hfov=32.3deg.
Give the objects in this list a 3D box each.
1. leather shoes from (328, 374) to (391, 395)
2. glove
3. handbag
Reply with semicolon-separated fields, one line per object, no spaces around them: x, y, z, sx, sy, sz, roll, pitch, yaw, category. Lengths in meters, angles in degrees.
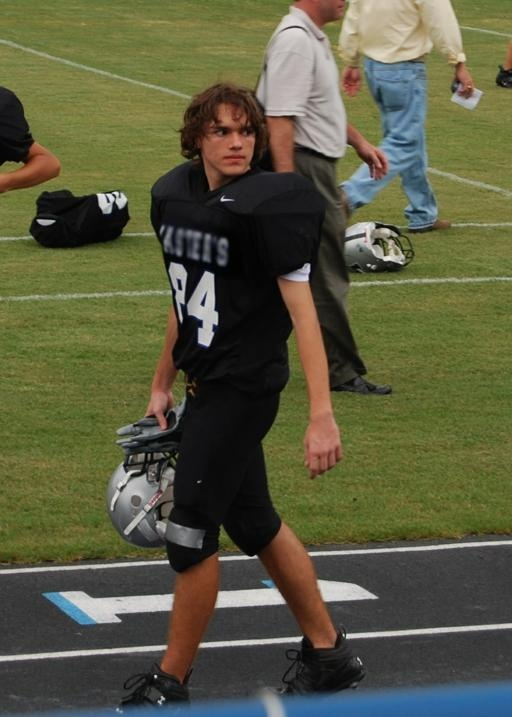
0.635;0.154;5.385;0.432;0.115;0.122;-1;9;1;leather shoes
-0.332;0.195;2.727;0.249;0.066;0.149;-8;7;3;glove
-1.620;-1.299;8.195;0.867;0.313;0.566;-4;2;-12;handbag
